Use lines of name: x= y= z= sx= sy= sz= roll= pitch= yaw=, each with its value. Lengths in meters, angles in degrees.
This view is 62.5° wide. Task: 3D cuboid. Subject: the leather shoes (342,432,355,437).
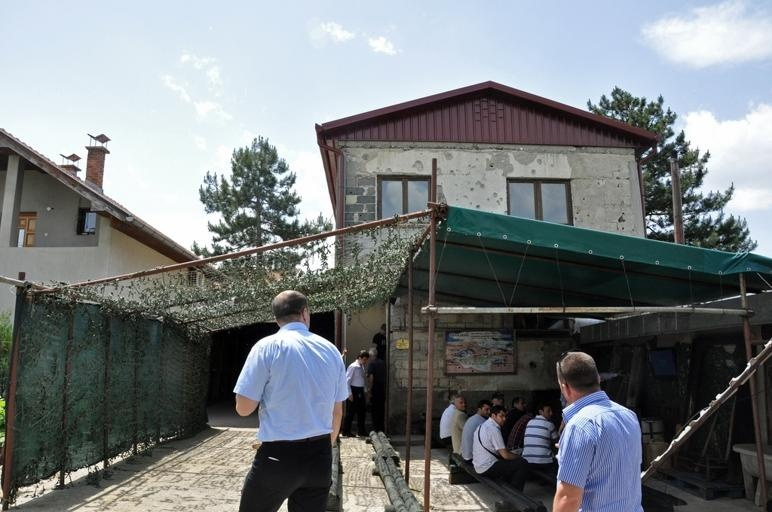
leather shoes: x=-0.931 y=4.507 z=15.983 sx=0.329 sy=0.144 sz=0.115 roll=1 pitch=-9 yaw=-2

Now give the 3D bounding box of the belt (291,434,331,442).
belt: x=-0.859 y=2.150 z=7.515 sx=0.454 sy=0.094 sz=0.065 roll=6 pitch=-10 yaw=-24
